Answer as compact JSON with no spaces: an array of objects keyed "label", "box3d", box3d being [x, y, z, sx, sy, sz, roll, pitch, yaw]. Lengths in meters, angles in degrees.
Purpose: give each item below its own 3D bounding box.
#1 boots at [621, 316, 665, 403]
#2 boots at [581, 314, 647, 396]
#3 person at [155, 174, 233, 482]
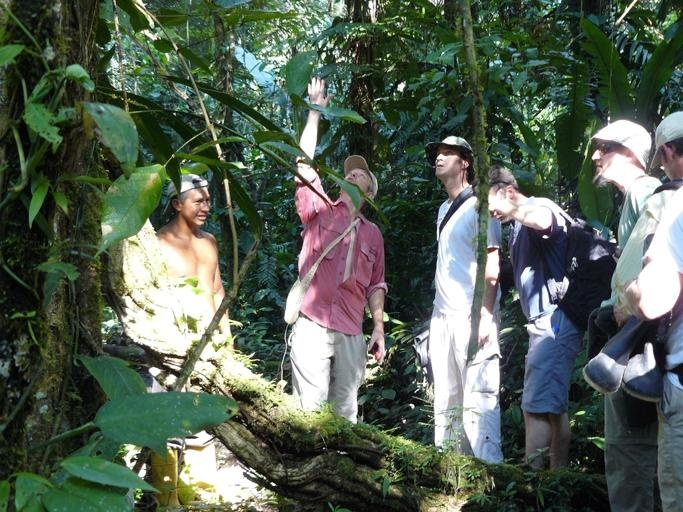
[{"label":"boots","box3d":[1.686,0.590,4.585,0.158,0.369,0.513,5,14,5]},{"label":"boots","box3d":[1.528,0.561,4.754,0.196,0.437,0.602,34,1,6]},{"label":"person","box3d":[-1.036,0.423,5.491,0.570,2.079,1.212,6,-14,-8]}]
